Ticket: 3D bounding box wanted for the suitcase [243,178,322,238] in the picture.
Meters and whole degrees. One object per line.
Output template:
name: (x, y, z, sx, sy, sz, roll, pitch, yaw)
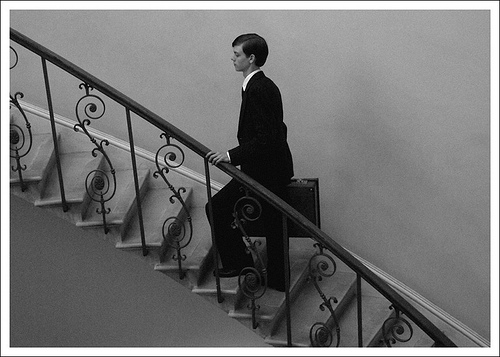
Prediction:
suitcase: (0.381, 0.316, 6.112, 0.509, 0.499, 0.183, 0, -5, -34)
